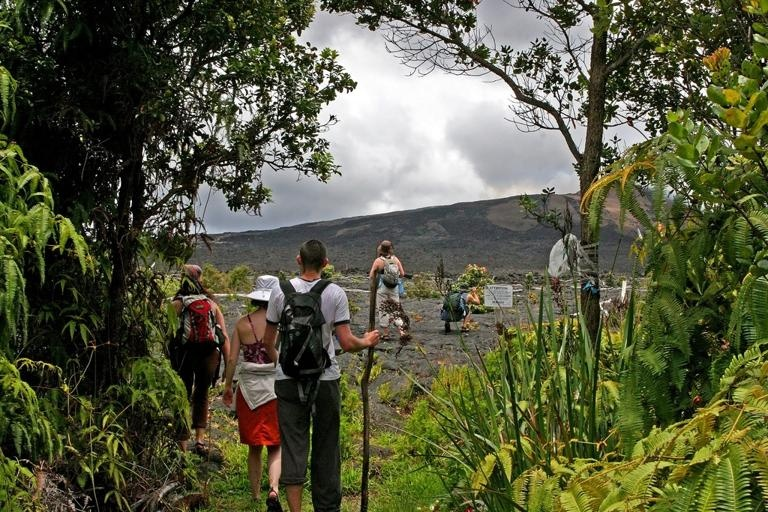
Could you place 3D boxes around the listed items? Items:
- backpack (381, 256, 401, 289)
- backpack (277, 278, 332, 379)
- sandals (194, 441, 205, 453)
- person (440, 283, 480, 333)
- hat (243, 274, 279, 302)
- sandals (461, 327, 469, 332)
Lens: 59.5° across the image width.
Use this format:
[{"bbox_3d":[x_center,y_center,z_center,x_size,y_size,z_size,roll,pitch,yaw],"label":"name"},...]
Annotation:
[{"bbox_3d":[0.139,0.337,13.154,0.370,0.541,0.540,2,-6,-16],"label":"backpack"},{"bbox_3d":[-0.718,0.667,6.174,0.462,0.915,0.479,-2,9,-4],"label":"backpack"},{"bbox_3d":[-2.081,2.157,7.596,0.124,0.147,0.179,-1,-7,-17],"label":"sandals"},{"bbox_3d":[1.695,1.189,15.051,0.704,0.960,1.098,1,-1,38],"label":"person"},{"bbox_3d":[-1.243,0.328,7.041,0.314,0.172,0.312,26,10,19],"label":"hat"},{"bbox_3d":[1.886,1.673,15.533,0.181,0.132,0.086,-7,-2,24],"label":"sandals"}]
